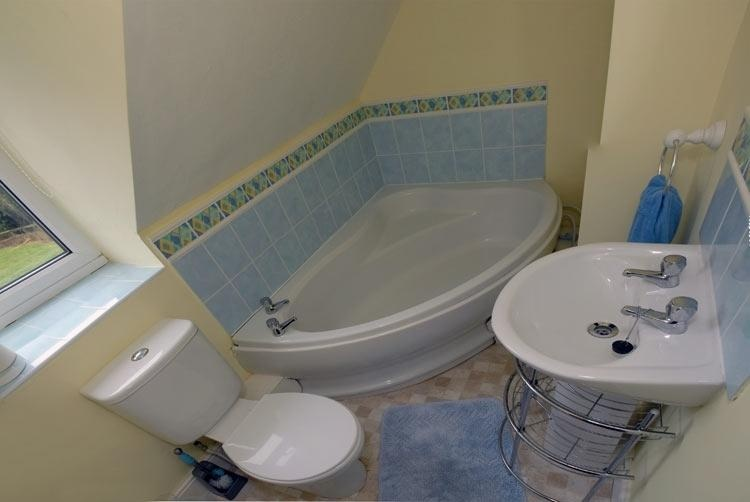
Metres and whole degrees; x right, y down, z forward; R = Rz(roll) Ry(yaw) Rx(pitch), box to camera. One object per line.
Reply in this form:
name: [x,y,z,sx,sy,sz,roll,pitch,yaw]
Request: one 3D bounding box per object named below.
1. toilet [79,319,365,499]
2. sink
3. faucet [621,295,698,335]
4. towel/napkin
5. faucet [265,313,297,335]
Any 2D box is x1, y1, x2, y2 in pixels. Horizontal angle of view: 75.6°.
toilet: [-0.794,0.814,2.433,0.888,0.807,0.464,6,45,19]
sink: [0.893,0.264,1.938,0.820,0.268,0.622,1,41,14]
faucet: [1.082,0.245,1.828,0.185,0.103,0.057,19,54,41]
towel/napkin: [1.233,-0.156,2.119,0.177,0.306,0.247,8,42,21]
faucet: [-0.537,0.406,2.792,0.166,0.103,0.085,-24,46,-14]
